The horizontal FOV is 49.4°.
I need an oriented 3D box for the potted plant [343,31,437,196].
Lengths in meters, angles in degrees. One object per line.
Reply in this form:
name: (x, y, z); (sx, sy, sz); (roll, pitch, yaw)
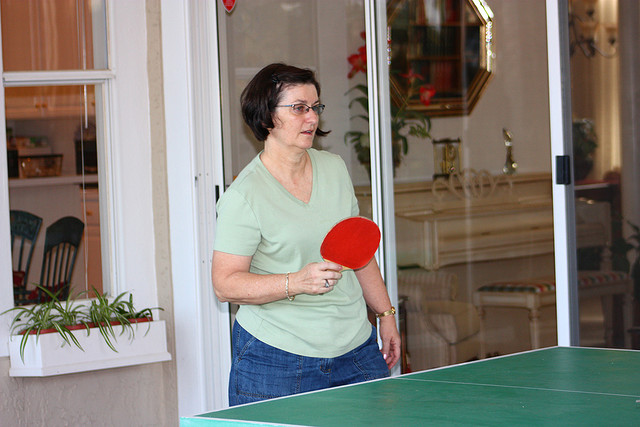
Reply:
potted plant: (0.287, -0.421, 3.371); (0.401, 0.722, 0.468); (-3, -1, -23)

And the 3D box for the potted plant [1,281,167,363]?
potted plant: (-1.277, 0.555, 3.842); (0.635, 0.262, 0.435); (4, -3, -38)

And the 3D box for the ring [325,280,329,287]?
ring: (0.024, 0.250, 2.456); (0.013, 0.018, 0.005); (2, 4, 27)

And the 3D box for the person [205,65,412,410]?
person: (-0.019, 0.077, 2.544); (0.766, 1.264, 0.632); (-4, 5, -17)

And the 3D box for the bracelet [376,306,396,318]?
bracelet: (0.263, 0.405, 2.849); (0.058, 0.033, 0.051); (-18, -10, 10)

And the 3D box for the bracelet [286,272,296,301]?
bracelet: (-0.098, 0.267, 2.508); (0.018, 0.078, 0.057); (-2, -1, 43)

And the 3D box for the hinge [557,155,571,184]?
hinge: (1.109, -0.199, 3.175); (0.059, 0.128, 0.015); (-1, 4, 21)

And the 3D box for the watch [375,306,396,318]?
watch: (0.270, 0.405, 2.843); (0.057, 0.027, 0.051); (-24, -5, 9)

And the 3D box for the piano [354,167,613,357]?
piano: (0.784, 0.198, 3.187); (0.796, 0.779, 0.238); (-4, -7, 1)
